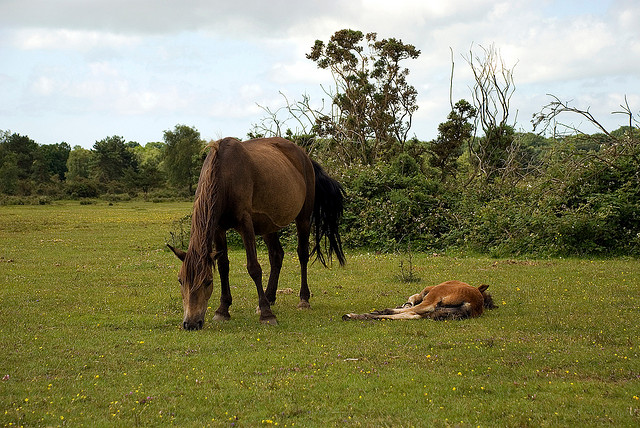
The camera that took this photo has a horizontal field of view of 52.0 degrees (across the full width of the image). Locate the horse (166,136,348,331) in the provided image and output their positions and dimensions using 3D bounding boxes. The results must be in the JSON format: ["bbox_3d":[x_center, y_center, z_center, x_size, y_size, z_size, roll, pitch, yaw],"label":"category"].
[{"bbox_3d":[-1.473,0.444,16.893,2.126,4.770,7.778,-1,3,24],"label":"horse"}]
